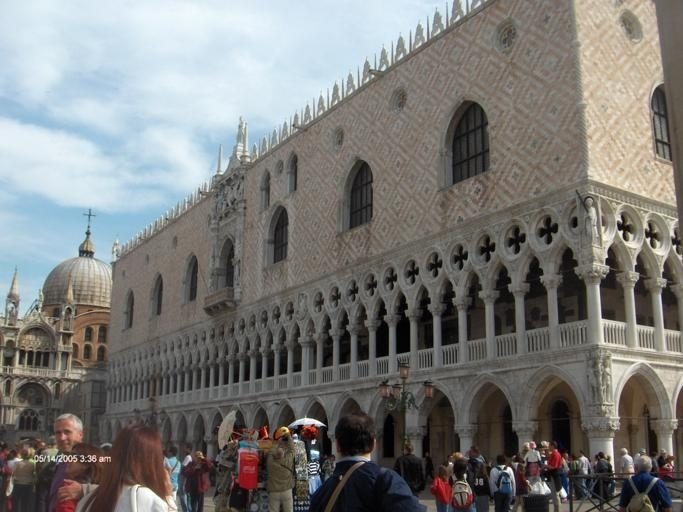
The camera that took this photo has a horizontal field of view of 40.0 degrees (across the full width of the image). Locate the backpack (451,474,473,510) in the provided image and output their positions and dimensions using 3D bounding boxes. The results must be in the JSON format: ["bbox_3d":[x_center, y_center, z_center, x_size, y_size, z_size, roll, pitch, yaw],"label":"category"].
[{"bbox_3d":[2.184,4.310,17.027,0.376,0.474,0.279,-6,-2,3],"label":"backpack"}]

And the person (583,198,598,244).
[{"bbox_3d":[6.134,-0.905,23.007,0.349,1.045,0.252,-5,-2,9],"label":"person"}]
